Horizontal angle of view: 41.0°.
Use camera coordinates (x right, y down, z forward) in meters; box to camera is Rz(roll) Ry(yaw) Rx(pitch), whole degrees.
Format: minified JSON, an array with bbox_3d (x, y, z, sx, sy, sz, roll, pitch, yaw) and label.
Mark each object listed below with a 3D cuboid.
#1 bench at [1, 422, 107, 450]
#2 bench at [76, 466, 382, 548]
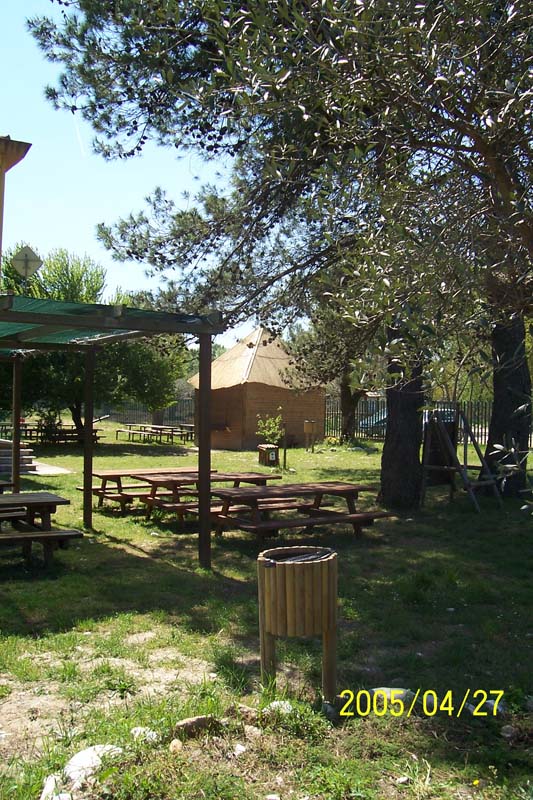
[{"bbox_3d":[-7.452,1.158,23.902,2.074,0.697,3.187,2,0,32],"label":"bench"},{"bbox_3d":[-0.446,1.334,10.160,3.277,0.882,4.555,2,0,-32],"label":"bench"}]
